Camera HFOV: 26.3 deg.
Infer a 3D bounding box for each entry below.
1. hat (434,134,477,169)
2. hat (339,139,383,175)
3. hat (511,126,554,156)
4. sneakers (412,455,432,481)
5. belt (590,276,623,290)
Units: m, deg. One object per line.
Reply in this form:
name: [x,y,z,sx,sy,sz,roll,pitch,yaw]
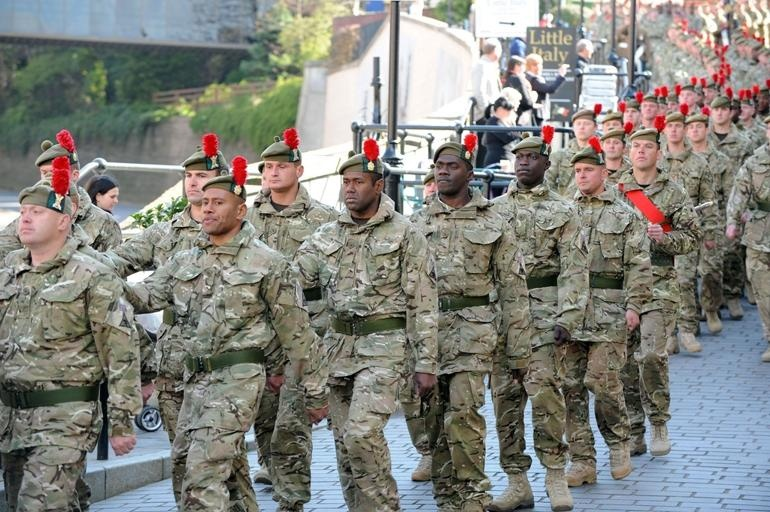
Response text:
hat: [0.935,-1.367,21.194,0.481,0.333,0.393,4,0,27]
hat: [-0.304,-1.228,20.868,0.604,0.406,0.478,-13,-9,26]
hat: [1.969,-1.502,22.110,0.485,0.406,1.025,4,19,8]
sneakers: [0.481,2.831,22.094,0.248,0.277,0.292,4,20,6]
belt: [2.967,0.353,22.228,0.317,0.111,0.221,3,0,-15]
